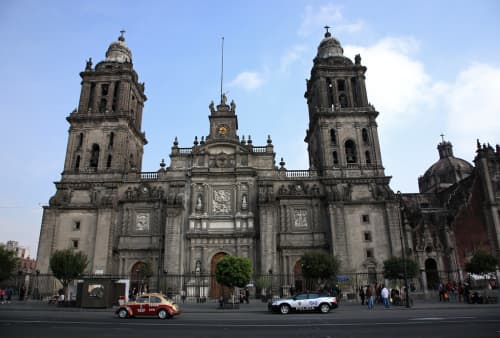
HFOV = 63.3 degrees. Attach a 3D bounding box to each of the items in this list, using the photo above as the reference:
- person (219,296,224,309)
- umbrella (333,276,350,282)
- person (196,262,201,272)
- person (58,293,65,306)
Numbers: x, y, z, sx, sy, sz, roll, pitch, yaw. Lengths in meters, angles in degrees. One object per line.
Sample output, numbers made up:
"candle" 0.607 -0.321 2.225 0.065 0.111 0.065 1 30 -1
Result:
"person" -2.622 12.533 37.947 0.462 0.922 0.894 -1 -19 -4
"umbrella" 10.337 12.222 45.582 1.260 0.711 1.491 -17 -24 37
"person" -6.352 12.154 50.637 0.656 1.293 0.465 3 -20 -14
"person" -18.760 13.108 40.578 0.541 1.094 0.687 8 -21 -28
